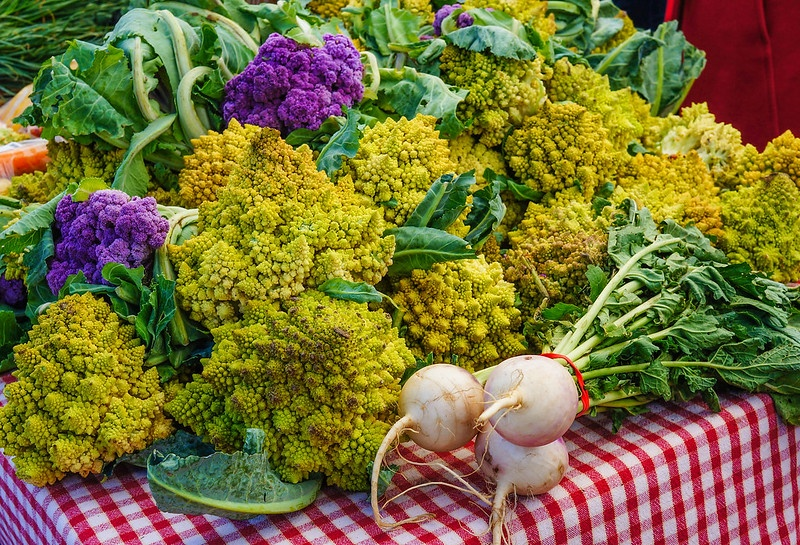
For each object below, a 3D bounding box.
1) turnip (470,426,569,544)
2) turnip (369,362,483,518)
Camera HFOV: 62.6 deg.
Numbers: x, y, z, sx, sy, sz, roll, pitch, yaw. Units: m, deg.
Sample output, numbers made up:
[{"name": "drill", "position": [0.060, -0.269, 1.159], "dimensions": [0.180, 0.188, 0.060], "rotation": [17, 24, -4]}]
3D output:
[{"name": "turnip", "position": [0.466, 0.759, 2.575], "dimensions": [0.259, 0.230, 0.468], "rotation": [4, 40, 38]}, {"name": "turnip", "position": [0.106, 0.664, 2.648], "dimensions": [0.302, 0.300, 0.695], "rotation": [16, 63, 30]}]
